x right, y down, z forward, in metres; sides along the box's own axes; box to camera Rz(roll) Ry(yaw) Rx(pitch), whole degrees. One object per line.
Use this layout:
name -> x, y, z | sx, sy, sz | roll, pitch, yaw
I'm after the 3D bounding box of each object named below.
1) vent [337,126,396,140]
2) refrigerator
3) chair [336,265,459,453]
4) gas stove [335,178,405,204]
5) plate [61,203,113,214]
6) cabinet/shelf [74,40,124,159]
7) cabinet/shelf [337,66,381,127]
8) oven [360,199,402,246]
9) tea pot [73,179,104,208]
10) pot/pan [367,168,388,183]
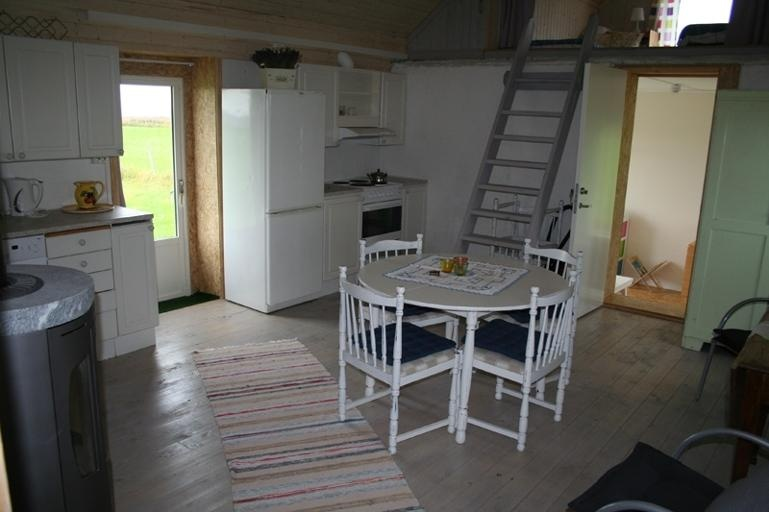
vent -> -0.188, -1.484, 6.629 | 0.492, 0.169, 0.856 | 5, 17, 13
refrigerator -> -1.149, -0.556, 5.620 | 1.066, 2.197, 0.727 | -1, 18, -7
chair -> 0.103, 0.732, 3.851 | 0.823, 1.281, 0.799 | -18, 29, -37
gas stove -> -0.193, -0.798, 6.591 | 0.443, 0.172, 0.461 | -17, 25, -40
plate -> -2.518, -0.403, 4.658 | 0.373, 0.036, 0.243 | 0, 16, -1
cabinet/shelf -> -2.381, -1.290, 4.565 | 0.411, 0.893, 0.132 | -11, 22, -33
cabinet/shelf -> -0.327, -1.908, 6.520 | 0.787, 0.730, 0.254 | -11, 20, -37
oven -> -0.178, -0.448, 6.698 | 0.460, 0.508, 0.811 | 11, 16, 38
tea pot -> -2.520, -0.526, 4.635 | 0.299, 0.266, 0.224 | -6, 17, -45
pot/pan -> -0.093, -0.970, 6.751 | 0.209, 0.177, 0.260 | -7, 20, -23
